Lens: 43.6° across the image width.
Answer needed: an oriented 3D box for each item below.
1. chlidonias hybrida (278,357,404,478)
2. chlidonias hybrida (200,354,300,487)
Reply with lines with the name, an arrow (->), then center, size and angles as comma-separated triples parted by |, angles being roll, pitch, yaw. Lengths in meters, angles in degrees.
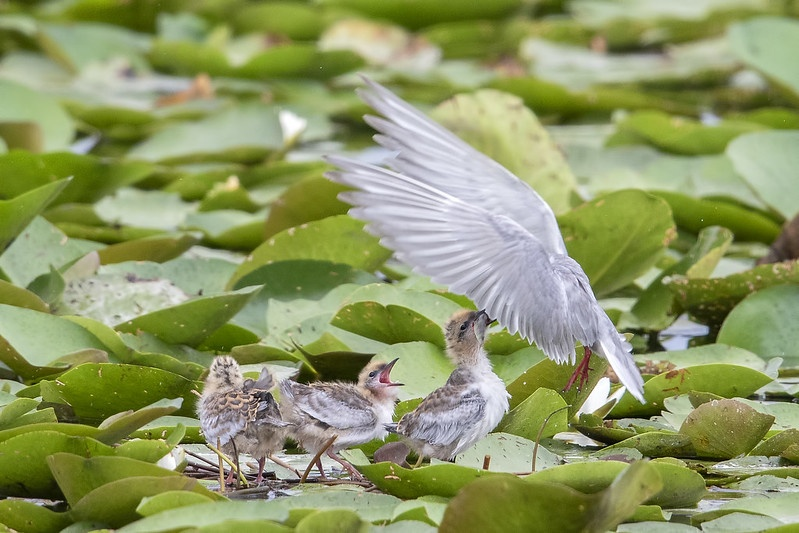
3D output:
chlidonias hybrida -> -0.261, 0.548, 3.629 | 0.528, 0.417, 0.272 | 10, -16, -28
chlidonias hybrida -> -0.518, 0.520, 3.469 | 0.282, 0.395, 0.616 | 8, -12, -38
